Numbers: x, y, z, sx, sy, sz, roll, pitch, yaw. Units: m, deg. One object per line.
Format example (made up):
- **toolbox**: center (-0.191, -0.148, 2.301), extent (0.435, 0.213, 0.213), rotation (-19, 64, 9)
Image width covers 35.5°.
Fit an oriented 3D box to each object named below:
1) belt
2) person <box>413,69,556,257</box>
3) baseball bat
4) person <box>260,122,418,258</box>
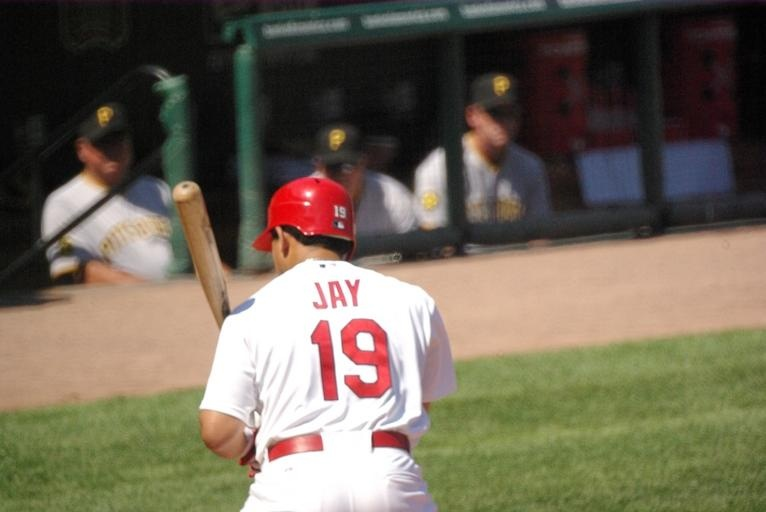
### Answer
- **belt**: center (-0.202, 0.830, 5.280), extent (0.641, 0.120, 0.141), rotation (-3, 3, -7)
- **person**: center (0.519, -0.541, 6.519), extent (0.849, 0.903, 0.515), rotation (-6, 13, -19)
- **baseball bat**: center (-0.921, -0.013, 6.097), extent (0.193, 0.989, 0.106), rotation (-13, 35, -2)
- **person**: center (-0.199, -0.362, 6.600), extent (0.986, 0.708, 0.492), rotation (-5, 41, 9)
